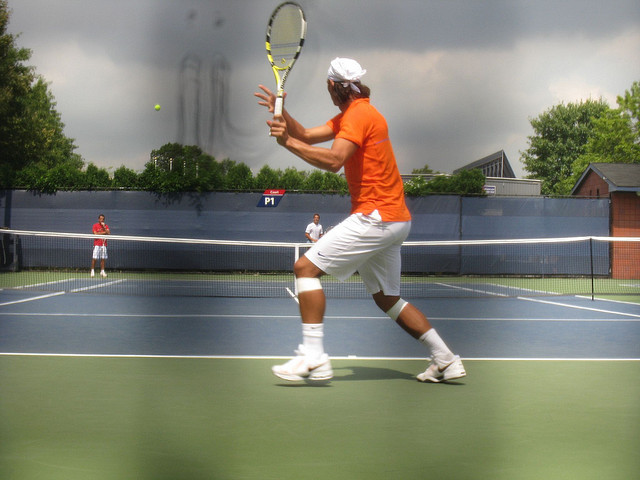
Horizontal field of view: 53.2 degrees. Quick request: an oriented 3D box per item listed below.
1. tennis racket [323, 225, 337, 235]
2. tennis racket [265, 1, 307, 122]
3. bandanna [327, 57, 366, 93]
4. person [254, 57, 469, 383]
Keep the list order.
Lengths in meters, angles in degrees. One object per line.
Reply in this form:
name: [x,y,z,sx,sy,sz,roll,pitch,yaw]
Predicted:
tennis racket: [0.161,-0.292,16.333,0.069,0.260,0.245,20,-15,-40]
tennis racket: [-0.273,-1.490,4.894,0.207,0.668,0.320,0,1,-26]
bandanna: [0.176,-1.175,4.563,0.267,0.225,0.243,9,14,24]
person: [0.256,-0.123,4.508,1.297,2.299,0.390,0,1,-21]
